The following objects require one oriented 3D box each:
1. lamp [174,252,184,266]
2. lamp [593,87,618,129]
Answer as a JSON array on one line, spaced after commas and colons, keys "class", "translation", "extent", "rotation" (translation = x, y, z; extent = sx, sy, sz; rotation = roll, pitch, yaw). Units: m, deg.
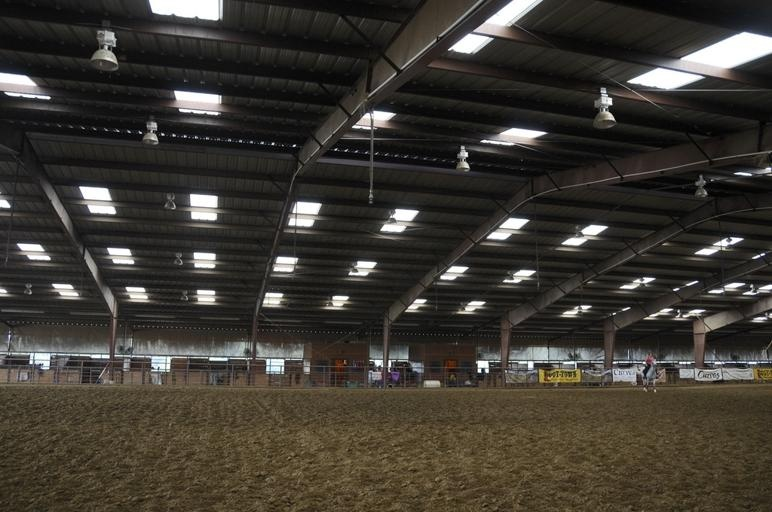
[{"class": "lamp", "translation": [-11.970, 0.264, 42.301], "extent": [0.529, 0.737, 1.841], "rotation": [5, -17, -15]}, {"class": "lamp", "translation": [8.041, -5.509, 27.224], "extent": [0.876, 1.247, 0.781], "rotation": [-3, 2, -12]}]
